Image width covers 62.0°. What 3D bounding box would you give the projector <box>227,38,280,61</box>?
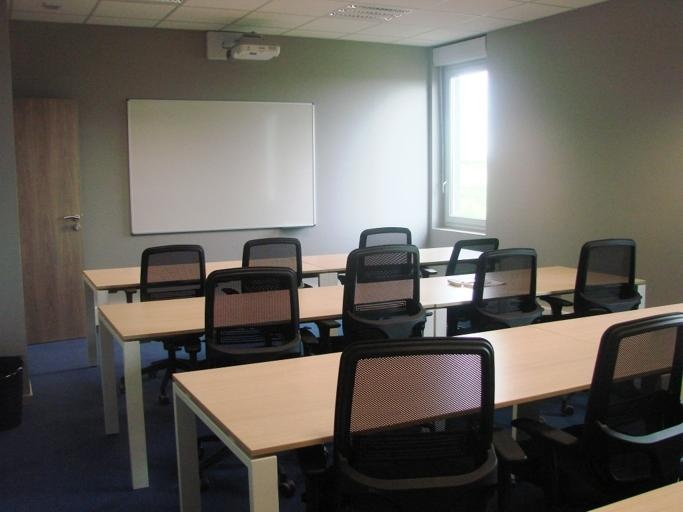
[{"bbox_3d":[-1.038,-2.404,6.640,0.534,0.200,0.600,-4,10,-15],"label":"projector"}]

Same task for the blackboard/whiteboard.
[{"bbox_3d":[-1.546,-1.085,6.870,1.717,1.112,0.056,-3,11,-22],"label":"blackboard/whiteboard"}]
